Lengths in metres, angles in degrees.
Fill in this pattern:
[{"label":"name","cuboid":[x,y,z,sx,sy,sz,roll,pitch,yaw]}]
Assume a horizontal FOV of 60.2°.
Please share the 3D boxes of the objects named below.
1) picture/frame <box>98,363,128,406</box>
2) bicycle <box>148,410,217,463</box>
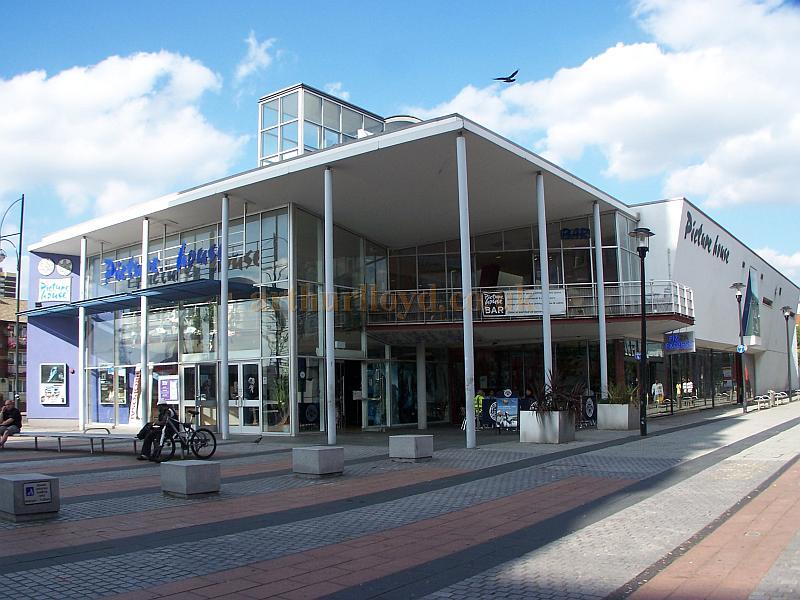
[{"label":"picture/frame","cuboid":[-12.897,3.885,31.561,1.774,1.822,0.939,-1,0,8]},{"label":"bicycle","cuboid":[-5.295,3.234,16.710,0.892,1.242,1.968,-13,-12,37]}]
